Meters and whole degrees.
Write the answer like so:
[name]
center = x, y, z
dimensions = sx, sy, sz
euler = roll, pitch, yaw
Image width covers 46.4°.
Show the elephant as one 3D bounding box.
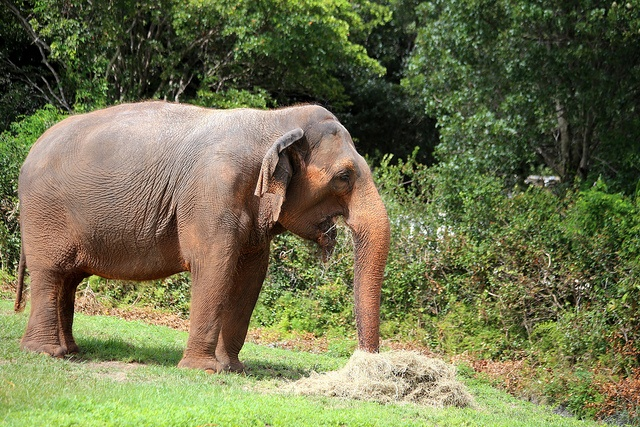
[elephant]
center = -2.050, 0.263, 14.540
dimensions = 6.355, 4.866, 3.633
euler = 3, -1, 0
